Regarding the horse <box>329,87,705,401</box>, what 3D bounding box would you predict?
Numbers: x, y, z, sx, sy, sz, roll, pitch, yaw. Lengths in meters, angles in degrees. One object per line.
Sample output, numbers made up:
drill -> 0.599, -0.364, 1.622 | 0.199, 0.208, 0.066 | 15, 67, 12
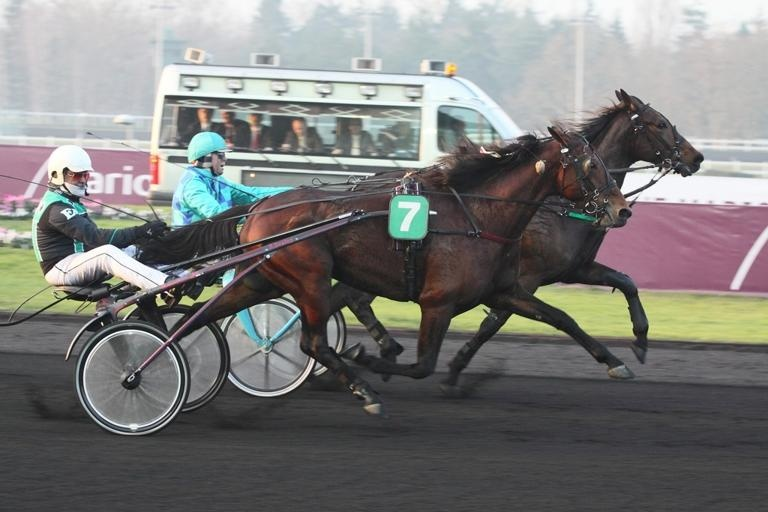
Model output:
horse -> 0.890, 0.244, 16.495 | 1.638, 3.438, 6.021 | -2, 4, -33

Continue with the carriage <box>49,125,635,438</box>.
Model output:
carriage -> -0.517, 0.112, 14.179 | 6.955, 2.638, 2.144 | -3, 15, -34

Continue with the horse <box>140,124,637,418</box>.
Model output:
horse -> -0.046, 0.097, 14.904 | 7.184, 2.507, 1.469 | -1, 9, 36

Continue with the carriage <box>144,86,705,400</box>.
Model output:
carriage -> 1.576, -0.598, 17.036 | 8.731, 3.877, 1.612 | -9, 5, 6

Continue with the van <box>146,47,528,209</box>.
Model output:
van -> 0.095, -1.806, 21.344 | 8.521, 2.739, 2.847 | 6, 10, 40
